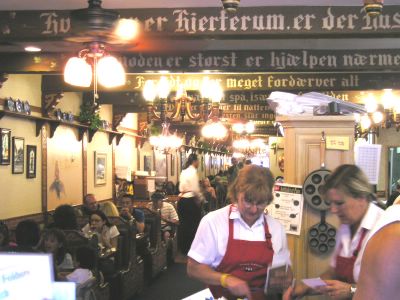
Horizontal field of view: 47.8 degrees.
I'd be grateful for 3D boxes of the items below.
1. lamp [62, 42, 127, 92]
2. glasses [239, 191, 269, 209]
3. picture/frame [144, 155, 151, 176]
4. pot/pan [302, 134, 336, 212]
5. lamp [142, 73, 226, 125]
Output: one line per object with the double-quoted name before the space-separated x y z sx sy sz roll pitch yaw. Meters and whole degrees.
"lamp" -1.082 -0.862 4.837 0.511 0.523 0.536 0 4 14
"glasses" 0.441 0.416 3.732 0.256 0.121 0.111 0 -1 5
"picture/frame" -1.634 0.470 13.738 0.077 0.662 0.530 -1 -2 17
"pot/pan" 1.147 0.228 4.337 0.229 0.752 0.102 1 -4 10
"lamp" -0.270 -0.726 6.709 0.892 0.578 0.998 4 -3 -40
